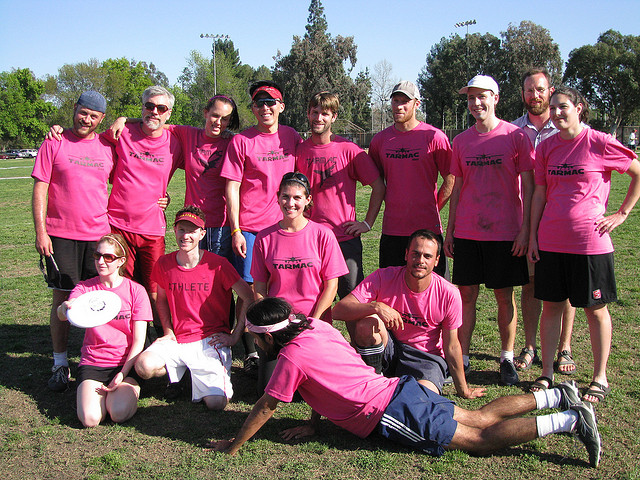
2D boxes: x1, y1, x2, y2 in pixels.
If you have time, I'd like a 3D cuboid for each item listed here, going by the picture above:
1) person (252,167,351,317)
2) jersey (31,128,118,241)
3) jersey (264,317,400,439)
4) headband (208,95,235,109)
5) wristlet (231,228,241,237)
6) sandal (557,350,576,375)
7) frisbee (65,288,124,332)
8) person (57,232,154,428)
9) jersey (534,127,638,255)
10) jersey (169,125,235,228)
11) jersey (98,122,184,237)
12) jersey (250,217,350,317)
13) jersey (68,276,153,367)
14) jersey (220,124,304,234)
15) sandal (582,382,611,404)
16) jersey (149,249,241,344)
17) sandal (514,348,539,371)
[{"bbox_3d":[-0.303,0.163,6.946,1.142,1.909,0.995,0,21,0],"label":"person"},{"bbox_3d":[-3.142,-0.690,7.593,1.262,1.583,0.702,0,6,-41],"label":"jersey"},{"bbox_3d":[0.042,1.572,6.420,1.277,1.042,0.479,42,-24,5],"label":"jersey"},{"bbox_3d":[-1.308,-1.843,7.851,0.353,0.191,0.265,0,3,-17],"label":"headband"},{"bbox_3d":[-1.083,-0.104,7.606,0.113,0.099,0.173,0,3,-9],"label":"wristlet"},{"bbox_3d":[3.137,1.542,7.524,0.218,0.242,0.454,2,3,24],"label":"sandal"},{"bbox_3d":[-2.671,0.820,7.003,0.463,0.528,0.126,5,-39,-4],"label":"frisbee"},{"bbox_3d":[-2.495,1.013,7.022,0.980,2.119,0.982,-1,3,-28],"label":"person"},{"bbox_3d":[3.017,-0.566,6.880,0.973,1.453,0.263,1,2,22],"label":"jersey"},{"bbox_3d":[-1.551,-0.905,8.080,1.323,1.175,0.413,11,15,13],"label":"jersey"},{"bbox_3d":[-2.481,-0.900,8.019,1.260,1.452,0.771,8,36,-26],"label":"jersey"},{"bbox_3d":[-0.272,0.294,7.206,1.116,1.347,0.531,1,37,3],"label":"jersey"},{"bbox_3d":[-2.590,0.990,7.202,0.892,1.136,0.581,4,11,-17],"label":"jersey"},{"bbox_3d":[-0.723,-0.766,7.542,1.197,1.430,0.512,-2,6,-18],"label":"jersey"},{"bbox_3d":[3.200,1.755,6.837,0.516,0.210,0.194,-1,3,-30],"label":"sandal"},{"bbox_3d":[-1.590,0.741,7.463,1.038,1.225,0.649,0,15,-2],"label":"jersey"},{"bbox_3d":[2.674,1.545,7.634,0.163,0.217,0.511,-4,-4,36],"label":"sandal"}]
